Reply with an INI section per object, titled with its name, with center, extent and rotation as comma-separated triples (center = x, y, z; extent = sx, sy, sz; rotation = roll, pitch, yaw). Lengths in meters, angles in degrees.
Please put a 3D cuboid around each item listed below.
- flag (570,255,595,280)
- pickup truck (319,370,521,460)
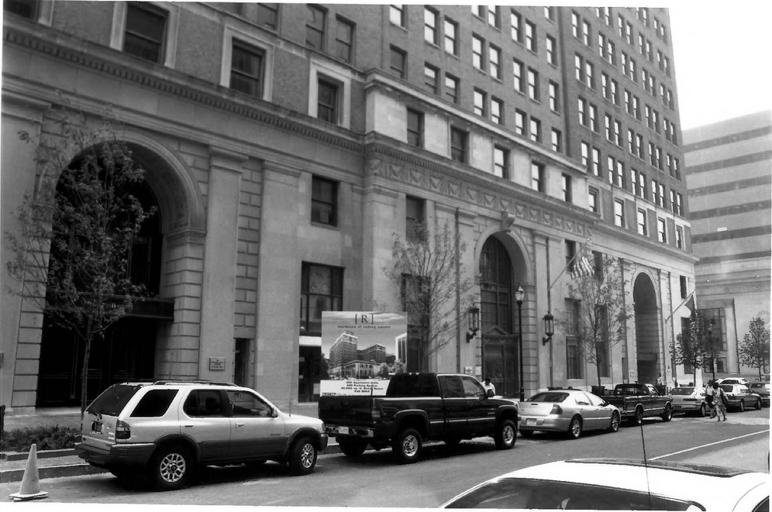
[flag]
center = 12.952, 0.791, 44.782
extent = 1.251, 1.743, 0.854
rotation = 2, -1, 12
[pickup truck]
center = 1.301, 5.349, 23.626
extent = 5.706, 2.026, 3.072
rotation = 6, -12, -35
